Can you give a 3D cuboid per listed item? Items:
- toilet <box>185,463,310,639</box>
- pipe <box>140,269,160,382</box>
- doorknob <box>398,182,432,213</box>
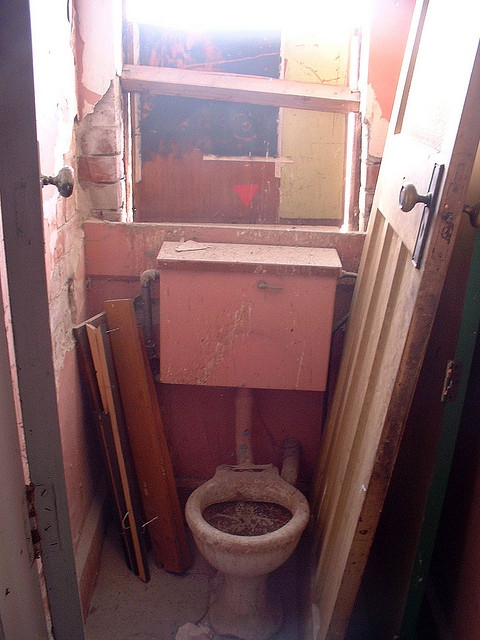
[{"bbox_3d":[0.032,0.752,1.795,0.287,0.463,0.507,0,15,1],"label":"toilet"},{"bbox_3d":[-0.329,-0.019,1.951,0.085,0.333,0.030,-1,4,21],"label":"pipe"},{"bbox_3d":[0.327,-0.228,0.940,0.056,0.053,0.070,7,13,24],"label":"doorknob"}]
